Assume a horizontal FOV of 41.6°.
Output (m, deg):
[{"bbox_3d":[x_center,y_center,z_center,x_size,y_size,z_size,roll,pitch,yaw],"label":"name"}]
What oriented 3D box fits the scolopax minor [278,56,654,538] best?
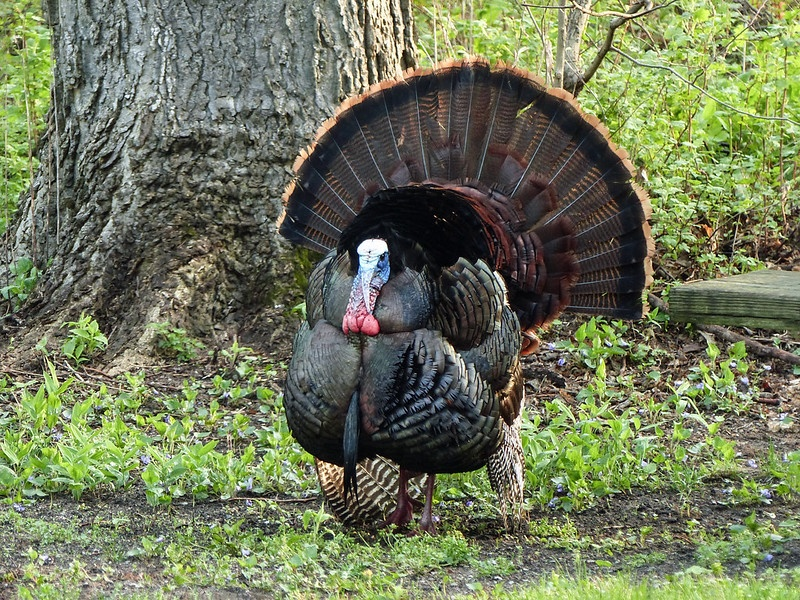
[{"bbox_3d":[0.122,-0.100,6.544,2.267,2.878,2.156,-11,13,-39],"label":"scolopax minor"}]
